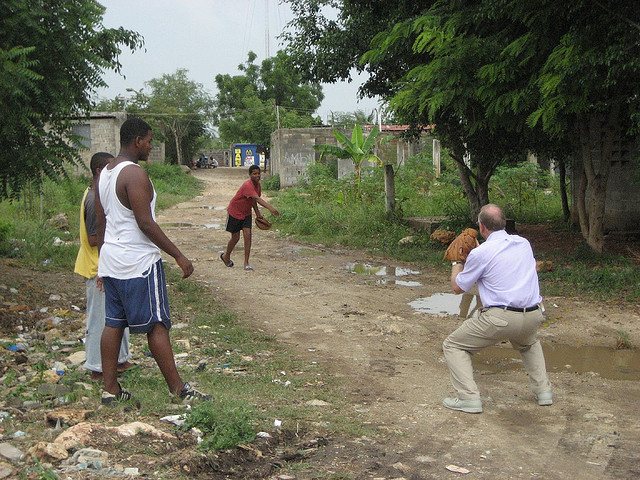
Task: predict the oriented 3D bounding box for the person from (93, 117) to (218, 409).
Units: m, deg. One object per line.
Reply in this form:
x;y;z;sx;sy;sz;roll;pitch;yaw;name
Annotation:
-1.733;0.209;7.577;1.074;2.739;0.929;-2;14;-9;person

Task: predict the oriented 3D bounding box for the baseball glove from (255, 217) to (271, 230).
-1.067;-0.329;14.369;0.236;0.060;0.248;40;24;24;baseball glove

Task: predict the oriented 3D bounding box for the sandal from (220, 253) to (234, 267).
-1.737;0.397;14.074;0.162;0.057;0.307;-13;56;-42;sandal

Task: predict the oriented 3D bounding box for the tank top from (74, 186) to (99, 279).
-2.561;-0.061;8.307;0.251;0.924;0.648;-4;14;-18;tank top

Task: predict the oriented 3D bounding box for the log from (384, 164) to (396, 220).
1.657;-1.133;18.046;0.275;1.374;0.281;-5;9;2;log

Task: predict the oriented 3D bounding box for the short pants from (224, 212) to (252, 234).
-1.444;-0.307;13.905;0.541;0.511;0.305;-1;10;-28;short pants

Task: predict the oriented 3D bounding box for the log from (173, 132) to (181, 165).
-9.579;-6.171;51.005;0.411;2.085;1.489;-3;14;-13;log
